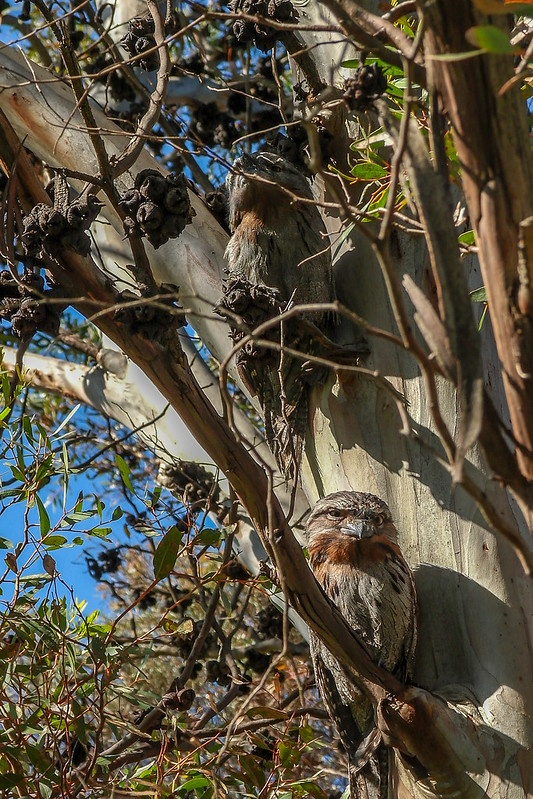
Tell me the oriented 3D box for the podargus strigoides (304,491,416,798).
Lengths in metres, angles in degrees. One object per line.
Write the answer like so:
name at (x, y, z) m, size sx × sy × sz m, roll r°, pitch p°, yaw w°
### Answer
podargus strigoides at (0.246, 0.565, 3.428) m, size 0.322 × 0.744 × 0.289 m, roll -22°, pitch -48°, yaw 24°
